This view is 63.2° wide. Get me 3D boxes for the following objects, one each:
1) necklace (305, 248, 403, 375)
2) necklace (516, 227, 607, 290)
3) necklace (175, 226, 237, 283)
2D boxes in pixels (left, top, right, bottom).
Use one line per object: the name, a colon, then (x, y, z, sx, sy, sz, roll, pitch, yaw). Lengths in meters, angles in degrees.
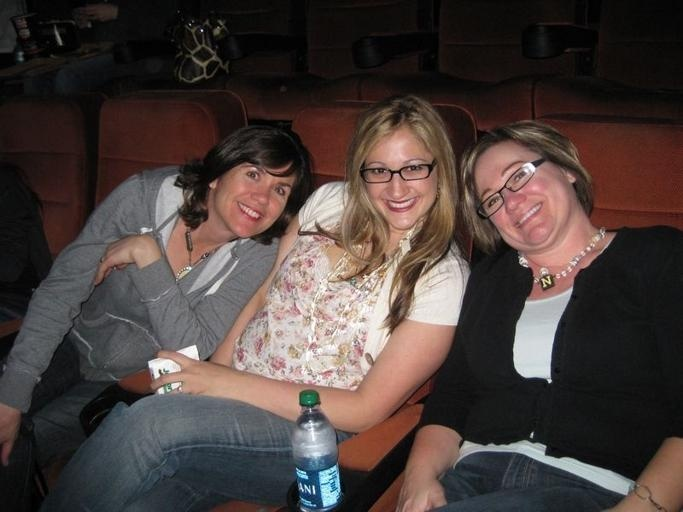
necklace: (0.040, 0.196, 1.731, 0.261, 0.317, 0.181, 32, 6, 32)
necklace: (0.655, 0.000, 1.636, 0.050, 0.205, 0.162, 54, 1, 4)
necklace: (-0.555, 0.003, 2.141, 0.163, 0.227, 0.060, 38, -6, 2)
